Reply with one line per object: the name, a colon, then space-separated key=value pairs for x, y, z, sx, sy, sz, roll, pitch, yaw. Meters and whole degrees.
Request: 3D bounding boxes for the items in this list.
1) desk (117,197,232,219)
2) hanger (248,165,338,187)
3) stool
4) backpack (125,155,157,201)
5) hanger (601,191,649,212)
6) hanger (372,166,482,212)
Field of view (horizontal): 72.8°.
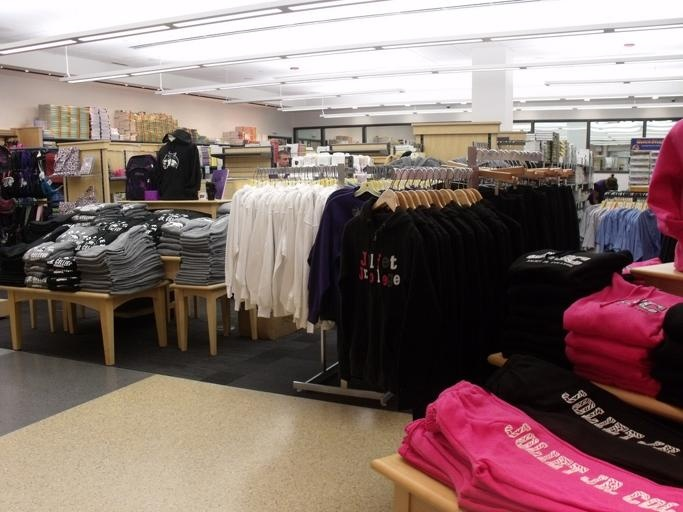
desk: x=-2.057 y=-0.638 z=6.172 sx=1.294 sy=0.237 sz=0.380 roll=3 pitch=10 yaw=27
hanger: x=-0.391 y=-0.697 z=4.006 sx=0.820 sy=0.161 sz=0.177 roll=3 pitch=10 yaw=25
stool: x=-1.371 y=0.525 z=4.979 sx=0.803 sy=0.823 sz=0.880 roll=0 pitch=3 yaw=21
backpack: x=-3.125 y=-1.281 z=7.422 sx=0.758 sy=0.714 sz=0.380 roll=5 pitch=11 yaw=36
hanger: x=3.894 y=-0.772 z=6.377 sx=0.470 sy=0.229 sz=0.662 roll=-9 pitch=12 yaw=-40
hanger: x=0.542 y=-0.439 z=3.058 sx=0.430 sy=0.191 sz=0.599 roll=-3 pitch=8 yaw=-28
